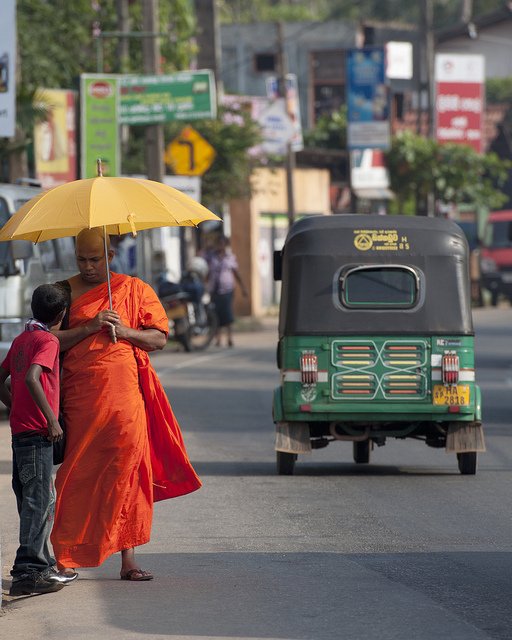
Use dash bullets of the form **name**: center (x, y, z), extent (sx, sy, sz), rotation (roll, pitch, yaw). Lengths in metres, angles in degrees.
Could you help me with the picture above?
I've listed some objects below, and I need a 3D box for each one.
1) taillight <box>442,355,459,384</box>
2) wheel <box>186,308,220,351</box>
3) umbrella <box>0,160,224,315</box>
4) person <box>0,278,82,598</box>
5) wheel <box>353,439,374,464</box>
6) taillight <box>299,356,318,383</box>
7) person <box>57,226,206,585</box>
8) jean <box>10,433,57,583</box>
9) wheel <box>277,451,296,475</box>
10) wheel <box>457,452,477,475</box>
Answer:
- **taillight**: center (1.378, 0.349, 10.700), extent (0.115, 0.193, 0.111), rotation (-1, 10, 7)
- **wheel**: center (-0.831, 0.150, 23.618), extent (0.378, 0.726, 0.896), rotation (2, 10, 23)
- **umbrella**: center (-0.769, -0.514, 7.944), extent (0.986, 0.694, 0.929), rotation (-5, 3, -13)
- **person**: center (-1.125, 0.594, 7.906), extent (0.428, 1.652, 1.414), rotation (-4, 10, -8)
- **wheel**: center (0.840, 1.022, 11.837), extent (0.139, 0.170, 0.251), rotation (0, 19, 3)
- **taillight**: center (0.383, 0.350, 10.755), extent (0.116, 0.179, 0.070), rotation (-2, 10, -1)
- **person**: center (-0.690, 0.385, 7.651), extent (0.553, 1.691, 0.727), rotation (2, 11, 24)
- **jean**: center (-1.090, 0.899, 7.405), extent (0.242, 0.733, 0.271), rotation (-4, 10, -9)
- **wheel**: center (0.226, 1.045, 11.117), extent (0.126, 0.237, 0.232), rotation (-2, 10, -1)
- **wheel**: center (1.543, 1.037, 11.039), extent (0.131, 0.209, 0.218), rotation (-1, 10, 6)
